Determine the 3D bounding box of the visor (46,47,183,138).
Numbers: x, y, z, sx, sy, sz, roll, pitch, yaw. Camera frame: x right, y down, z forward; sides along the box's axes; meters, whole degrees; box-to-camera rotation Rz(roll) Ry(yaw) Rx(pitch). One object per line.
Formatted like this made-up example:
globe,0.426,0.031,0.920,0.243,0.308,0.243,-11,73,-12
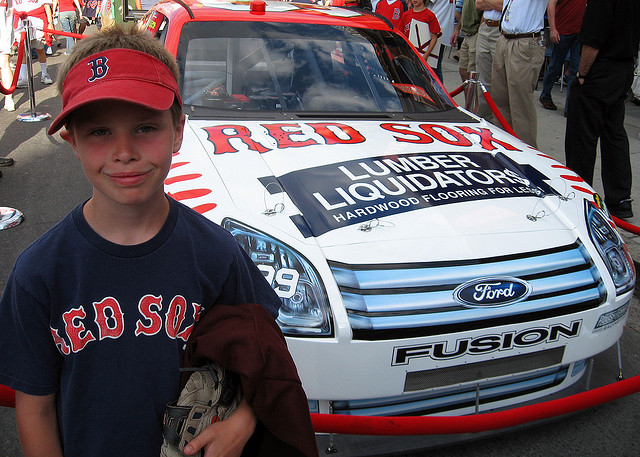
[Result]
visor,-0.536,-0.387,1.511,0.382,0.259,0.608,-2,7,-6

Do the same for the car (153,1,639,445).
car,0.006,-0.419,3.739,2.209,1.479,4.234,-8,30,-23

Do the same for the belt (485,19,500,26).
belt,2.357,-2.831,6.591,0.074,0.079,0.274,-15,32,-23
